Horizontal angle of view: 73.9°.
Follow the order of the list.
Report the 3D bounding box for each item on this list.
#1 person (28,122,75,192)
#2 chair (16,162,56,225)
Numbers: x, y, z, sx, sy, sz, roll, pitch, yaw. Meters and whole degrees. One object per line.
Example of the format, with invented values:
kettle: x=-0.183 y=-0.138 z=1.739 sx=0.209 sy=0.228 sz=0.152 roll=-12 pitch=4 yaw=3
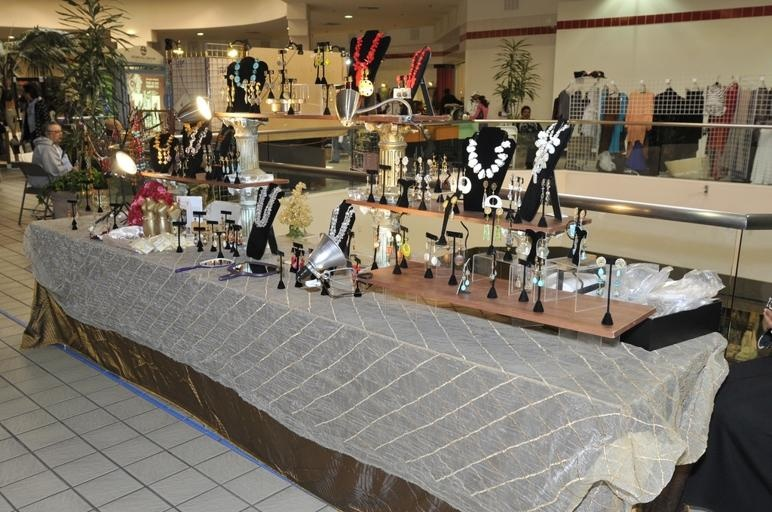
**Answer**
person: x=-5.245 y=-1.503 z=8.062 sx=0.572 sy=1.101 sz=0.552 roll=23 pitch=21 yaw=11
chair: x=-5.631 y=-1.060 z=8.472 sx=0.729 sy=0.930 sz=0.705 roll=1 pitch=8 yaw=-33
